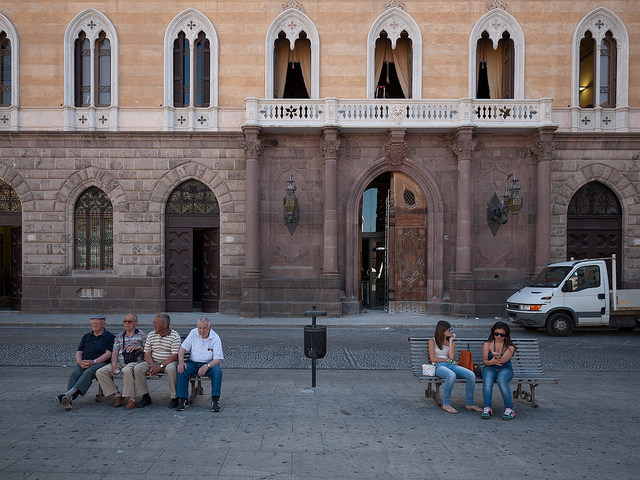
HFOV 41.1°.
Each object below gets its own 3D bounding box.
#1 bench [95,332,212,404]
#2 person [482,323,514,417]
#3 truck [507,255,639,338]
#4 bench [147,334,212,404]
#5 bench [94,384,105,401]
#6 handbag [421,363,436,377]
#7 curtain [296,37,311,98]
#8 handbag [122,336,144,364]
[{"bbox_3d":[-4.743,3.398,23.793,2.783,1.452,1.216,5,13,-18],"label":"bench"},{"bbox_3d":[4.921,3.586,23.526,0.877,1.679,0.840,-2,1,11],"label":"person"},{"bbox_3d":[9.089,2.104,31.982,4.941,2.231,2.413,0,-6,-3],"label":"truck"},{"bbox_3d":[-4.170,3.549,24.239,1.946,1.239,0.969,19,-10,13],"label":"bench"},{"bbox_3d":[-6.179,4.337,23.943,0.379,0.349,0.364,2,-5,-15],"label":"bench"},{"bbox_3d":[3.036,3.663,23.898,0.409,0.257,0.259,-2,1,5],"label":"handbag"},{"bbox_3d":[-0.640,-7.496,36.711,0.687,1.958,0.332,-2,1,31],"label":"curtain"},{"bbox_3d":[-5.260,3.184,23.978,0.576,0.751,0.424,1,-20,-22],"label":"handbag"}]
